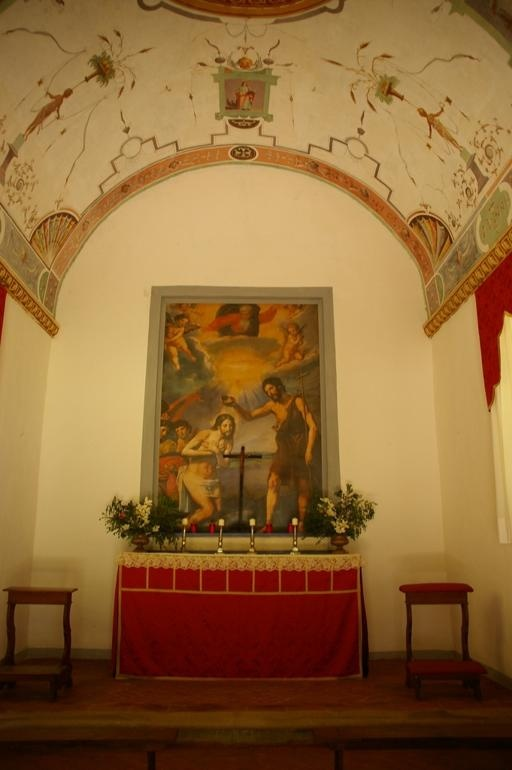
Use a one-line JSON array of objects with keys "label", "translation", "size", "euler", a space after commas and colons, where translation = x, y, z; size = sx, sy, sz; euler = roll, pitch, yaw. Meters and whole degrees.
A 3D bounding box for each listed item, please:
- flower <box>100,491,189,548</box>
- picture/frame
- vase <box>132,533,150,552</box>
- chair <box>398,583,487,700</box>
[{"label": "flower", "translation": [-1.135, 1.419, 6.065], "size": [0.776, 0.532, 0.744], "euler": [3, -14, -13]}, {"label": "picture/frame", "translation": [-0.201, 0.490, 6.619], "size": [2.773, 3.954, 0.152], "euler": [1, -20, -2]}, {"label": "vase", "translation": [-1.158, 1.569, 5.897], "size": [0.156, 0.175, 0.782], "euler": [3, -14, -10]}, {"label": "chair", "translation": [1.577, 2.155, 5.082], "size": [0.601, 0.851, 1.390], "euler": [-4, -14, 16]}]
